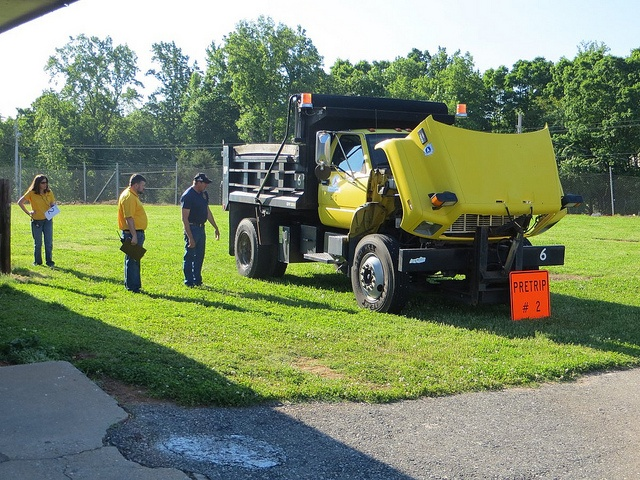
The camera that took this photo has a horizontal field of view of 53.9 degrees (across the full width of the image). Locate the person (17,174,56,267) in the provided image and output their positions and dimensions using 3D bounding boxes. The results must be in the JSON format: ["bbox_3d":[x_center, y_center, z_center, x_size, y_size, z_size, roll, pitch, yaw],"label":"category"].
[{"bbox_3d":[-5.993,-0.425,13.396,0.638,1.955,1.421,-2,11,-24],"label":"person"}]

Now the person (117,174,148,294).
[{"bbox_3d":[-3.283,-0.168,11.055,0.448,2.009,1.104,0,10,-17],"label":"person"}]

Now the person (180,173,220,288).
[{"bbox_3d":[-2.311,-0.204,11.690,0.447,2.059,0.649,6,10,18],"label":"person"}]

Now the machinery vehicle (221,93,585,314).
[{"bbox_3d":[0.990,-0.900,12.048,3.440,3.143,6.462,0,2,-26],"label":"machinery vehicle"}]

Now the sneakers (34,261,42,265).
[{"bbox_3d":[-5.872,0.484,13.131,0.145,0.061,0.186,-2,11,-28],"label":"sneakers"}]

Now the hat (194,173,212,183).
[{"bbox_3d":[-2.165,-1.145,11.602,0.345,0.187,0.227,-2,16,-20],"label":"hat"}]
